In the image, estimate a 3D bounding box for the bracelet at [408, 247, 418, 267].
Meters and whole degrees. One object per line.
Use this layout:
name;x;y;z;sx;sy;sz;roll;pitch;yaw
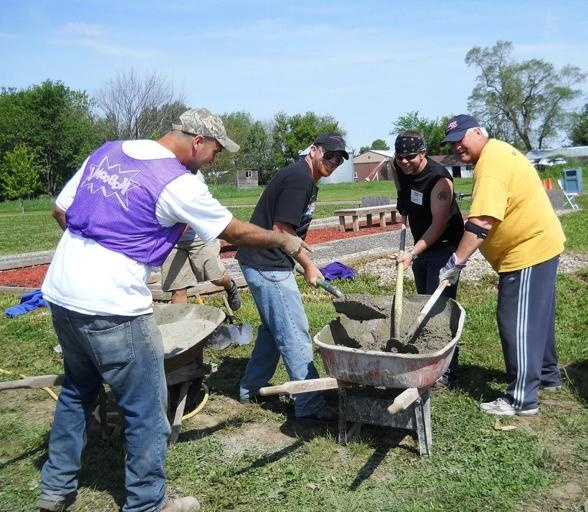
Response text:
bracelet;1.019;0.004;4.758;0.041;0.119;0.089;12;7;9

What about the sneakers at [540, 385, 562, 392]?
sneakers;2.195;1.129;4.715;0.176;0.073;0.060;-7;2;23

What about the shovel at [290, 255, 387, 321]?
shovel;0.428;0.320;4.429;0.301;0.170;1.183;-27;-36;30

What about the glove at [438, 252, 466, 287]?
glove;1.246;0.122;4.312;0.249;0.097;0.192;-43;9;27

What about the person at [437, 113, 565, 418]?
person;1.717;0.158;4.363;1.039;2.134;0.639;-3;14;1

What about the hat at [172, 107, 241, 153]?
hat;-0.546;-0.790;3.568;0.422;0.224;0.253;6;-5;-10

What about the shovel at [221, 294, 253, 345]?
shovel;-0.618;0.641;5.582;0.274;0.116;0.669;-8;47;-22

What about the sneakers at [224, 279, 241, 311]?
sneakers;-0.724;0.476;6.475;0.140;0.396;0.172;-8;14;21

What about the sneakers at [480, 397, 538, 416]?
sneakers;1.679;1.181;4.400;0.480;0.185;0.159;4;-12;3

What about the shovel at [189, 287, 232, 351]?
shovel;-0.759;0.572;5.389;0.341;0.125;0.818;-2;45;-14

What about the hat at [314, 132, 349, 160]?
hat;0.279;-0.842;4.217;0.252;0.206;0.344;-2;14;2

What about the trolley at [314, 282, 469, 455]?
trolley;0.722;0.899;4.117;1.001;0.940;1.164;2;14;19
